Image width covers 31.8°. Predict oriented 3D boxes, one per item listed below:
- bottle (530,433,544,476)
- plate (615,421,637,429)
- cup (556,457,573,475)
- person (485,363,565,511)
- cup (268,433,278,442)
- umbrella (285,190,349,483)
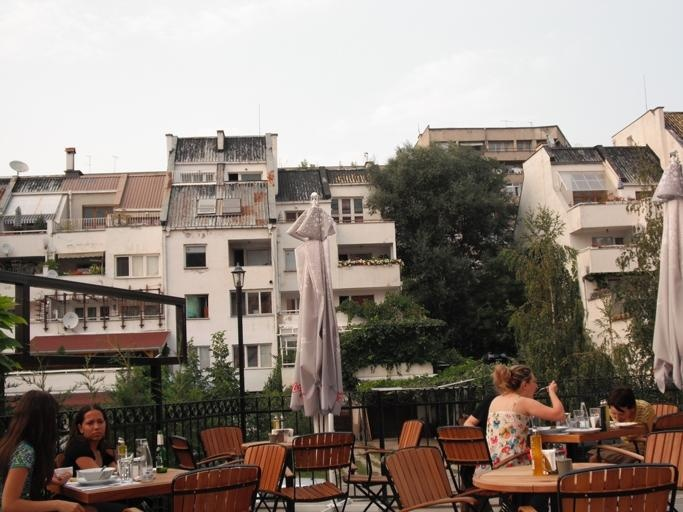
[{"bbox_3d":[3.365,3.415,20.635,0.227,0.763,0.270,-4,-10,9],"label":"bottle"},{"bbox_3d":[5.557,3.313,23.532,0.435,0.102,0.292,-6,-12,13],"label":"plate"},{"bbox_3d":[3.810,3.587,20.420,0.224,0.304,0.299,0,-10,-7],"label":"cup"},{"bbox_3d":[3.284,3.291,21.897,1.307,2.736,1.096,-4,-10,7],"label":"person"},{"bbox_3d":[-1.394,3.714,24.386,0.167,0.145,0.170,-1,-14,0],"label":"cup"},{"bbox_3d":[-0.539,1.569,25.244,1.011,6.206,1.141,-3,-10,0],"label":"umbrella"}]
